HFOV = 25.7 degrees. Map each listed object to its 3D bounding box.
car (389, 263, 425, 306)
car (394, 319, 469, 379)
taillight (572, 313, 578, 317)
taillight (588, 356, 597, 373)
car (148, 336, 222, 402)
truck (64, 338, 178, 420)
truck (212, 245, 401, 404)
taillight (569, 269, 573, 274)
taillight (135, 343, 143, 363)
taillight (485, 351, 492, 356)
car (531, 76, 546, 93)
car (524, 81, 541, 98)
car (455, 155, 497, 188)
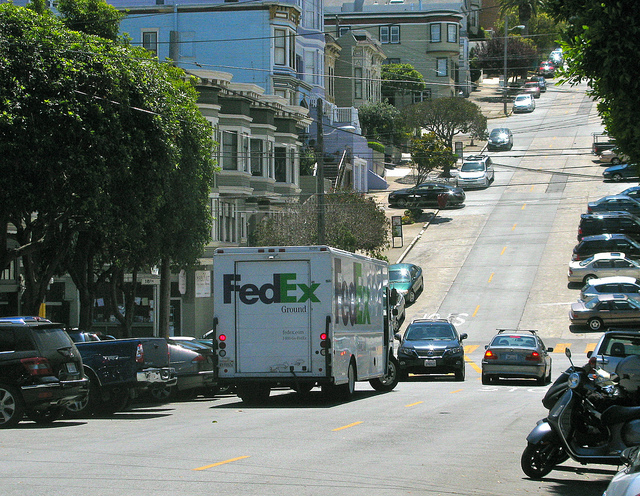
[{"bbox_3d":[3.479,1.268,60.213,1.477,0.963,2.969,1,22,14],"label":"car"},{"bbox_3d":[3.485,3.204,43.928,1.777,1.259,3.233,-1,-5,5],"label":"car"},{"bbox_3d":[9.688,2.511,53.237,0.144,0.128,0.250,2,2,18],"label":"taillight"},{"bbox_3d":[5.793,2.474,29.729,0.090,0.270,0.193,6,-1,-10],"label":"taillight"},{"bbox_3d":[-3.698,3.440,39.716,2.648,1.098,1.318,-1,0,29],"label":"car"},{"bbox_3d":[-5.162,3.326,36.324,3.126,1.115,1.603,0,-2,11],"label":"truck"},{"bbox_3d":[-0.313,1.910,39.337,3.106,3.063,5.759,-1,-1,22],"label":"truck"},{"bbox_3d":[10.661,0.967,59.534,0.096,0.167,0.172,-1,3,2],"label":"taillight"},{"bbox_3d":[-4.624,2.650,35.839,0.209,0.441,0.107,-3,9,-22],"label":"taillight"},{"bbox_3d":[5.066,3.142,42.102,0.255,0.151,0.083,8,11,43],"label":"taillight"},{"bbox_3d":[23.021,-17.488,147.291,1.336,1.070,2.960,-1,-5,7],"label":"car"},{"bbox_3d":[21.626,-16.336,142.821,1.123,0.968,2.077,-1,-1,11],"label":"car"},{"bbox_3d":[9.766,-4.788,87.672,1.572,1.209,3.382,-2,3,13],"label":"car"}]
